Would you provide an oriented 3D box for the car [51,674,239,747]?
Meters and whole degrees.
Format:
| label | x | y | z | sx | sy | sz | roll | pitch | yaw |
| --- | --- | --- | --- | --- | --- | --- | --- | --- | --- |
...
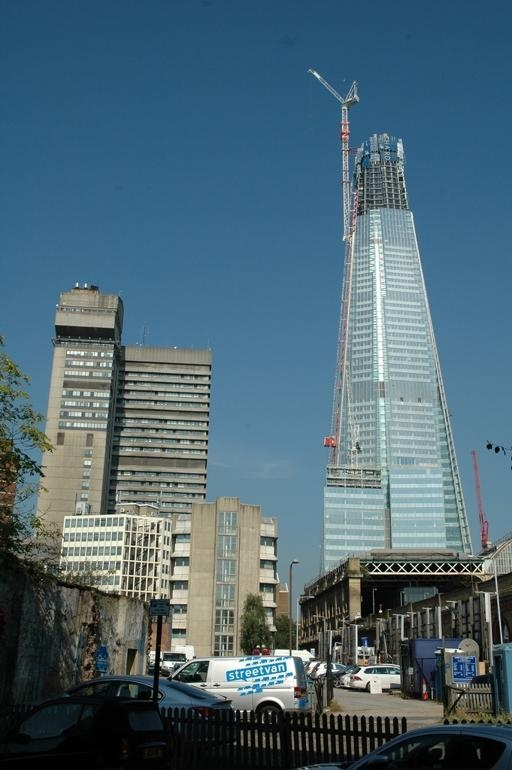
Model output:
| label | x | y | z | sx | sy | sz | roll | pitch | yaw |
| --- | --- | --- | --- | --- | --- | --- | --- | --- | --- |
| car | -1.575 | 5.108 | 11.405 | 3.312 | 1.116 | 1.559 | -4 | -36 | 19 |

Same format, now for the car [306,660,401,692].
| label | x | y | z | sx | sy | sz | roll | pitch | yaw |
| --- | --- | --- | --- | --- | --- | --- | --- | --- | --- |
| car | 6.350 | 17.591 | 40.323 | 3.313 | 1.400 | 7.155 | 11 | -23 | -25 |
